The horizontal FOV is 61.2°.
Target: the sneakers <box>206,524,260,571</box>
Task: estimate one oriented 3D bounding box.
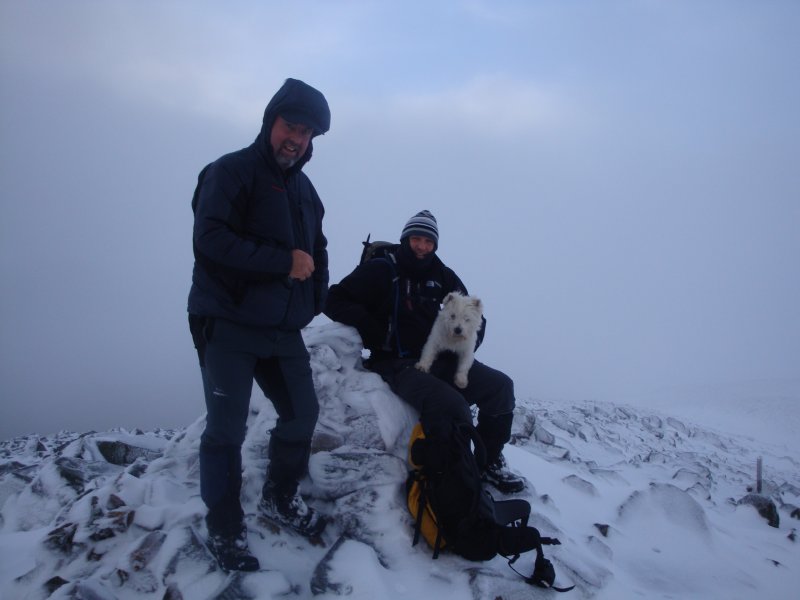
[{"bbox_3d":[-1.503,2.253,6.085,0.478,0.300,0.120,45,-41,-4],"label":"sneakers"}]

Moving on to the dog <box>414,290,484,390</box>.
[{"bbox_3d":[0.681,0.360,8.608,0.665,1.191,1.506,13,13,4],"label":"dog"}]

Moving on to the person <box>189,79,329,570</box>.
[{"bbox_3d":[-1.281,0.153,6.301,1.298,4.480,0.804,3,5,-32],"label":"person"}]
